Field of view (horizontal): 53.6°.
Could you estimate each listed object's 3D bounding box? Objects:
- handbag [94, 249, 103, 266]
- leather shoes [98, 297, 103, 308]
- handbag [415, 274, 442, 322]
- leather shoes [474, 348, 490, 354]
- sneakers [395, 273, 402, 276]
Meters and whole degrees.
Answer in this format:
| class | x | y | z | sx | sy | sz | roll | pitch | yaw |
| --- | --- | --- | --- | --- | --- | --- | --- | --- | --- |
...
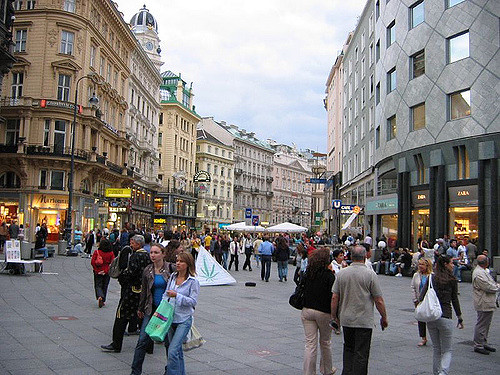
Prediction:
| class | x | y | z | sx | sy | sz | roll | pitch | yaw |
| --- | --- | --- | --- | --- | --- | --- | --- | --- | --- |
| handbag | -4.387 | 2.047 | 14.360 | 0.383 | 0.551 | 0.284 | 4 | -8 | -30 |
| leather shoes | -4.393 | 3.367 | 14.604 | 0.110 | 0.337 | 0.146 | 1 | 16 | -12 |
| handbag | 3.544 | 2.213 | 9.792 | 0.494 | 0.892 | 0.418 | 3 | -7 | -2 |
| leather shoes | 5.257 | 3.704 | 11.249 | 0.238 | 0.113 | 0.125 | -3 | -5 | 13 |
| sneakers | 8.270 | 4.842 | 27.550 | 0.355 | 0.169 | 0.134 | 1 | -1 | 27 |
